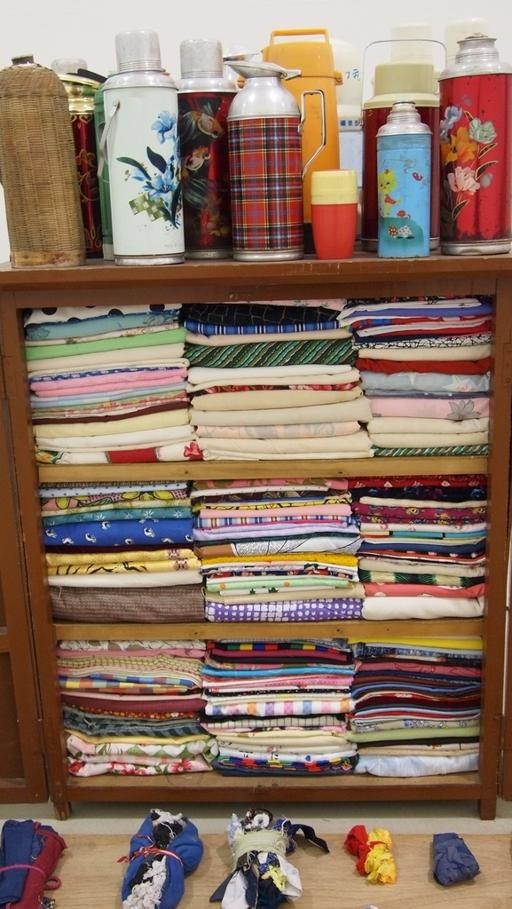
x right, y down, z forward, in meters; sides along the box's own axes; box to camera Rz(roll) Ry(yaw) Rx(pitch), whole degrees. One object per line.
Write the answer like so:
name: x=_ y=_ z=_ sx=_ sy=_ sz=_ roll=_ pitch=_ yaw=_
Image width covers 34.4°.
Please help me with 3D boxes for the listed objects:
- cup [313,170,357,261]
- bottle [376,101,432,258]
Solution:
cup: x=0.146 y=-0.446 z=1.554 sx=0.084 sy=0.160 sz=0.077 roll=-2 pitch=9 yaw=0
bottle: x=0.271 y=-0.481 z=1.524 sx=0.094 sy=0.235 sz=0.077 roll=0 pitch=9 yaw=12
